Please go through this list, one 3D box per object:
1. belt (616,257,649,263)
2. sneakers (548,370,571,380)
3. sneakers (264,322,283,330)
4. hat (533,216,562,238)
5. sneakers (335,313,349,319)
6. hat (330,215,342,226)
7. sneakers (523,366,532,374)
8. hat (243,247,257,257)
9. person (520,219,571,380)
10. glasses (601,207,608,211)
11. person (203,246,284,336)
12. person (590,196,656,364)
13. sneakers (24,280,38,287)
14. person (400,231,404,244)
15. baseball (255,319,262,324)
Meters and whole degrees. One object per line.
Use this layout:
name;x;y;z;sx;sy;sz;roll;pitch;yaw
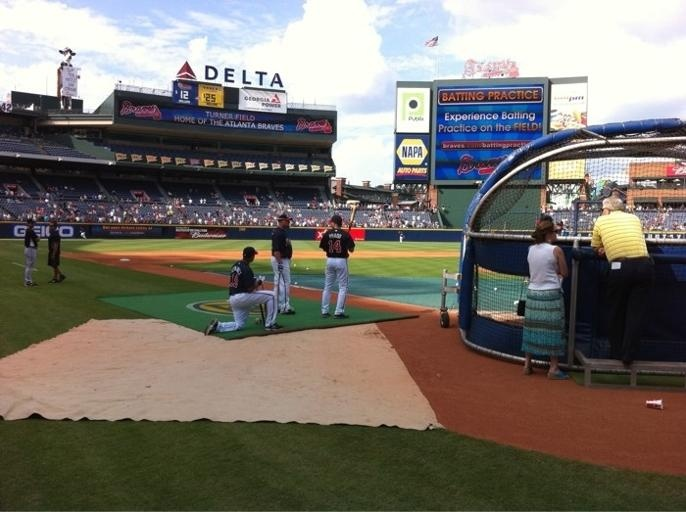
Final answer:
belt;3.787;0.034;8.626;0.385;0.091;0.077;3;13;9
sneakers;3.011;1.658;9.237;0.292;0.107;0.124;1;0;-2
sneakers;-1.212;1.204;11.387;0.330;0.121;0.109;0;3;-3
hat;2.977;-0.430;9.736;0.462;0.151;0.422;-28;8;-35
sneakers;-0.029;1.150;12.735;0.314;0.114;0.098;1;0;-12
hat;-0.133;-0.646;11.876;0.182;0.181;0.199;2;21;-2
sneakers;2.607;1.616;9.358;0.095;0.104;0.268;-4;-11;24
hat;-1.577;-0.047;11.149;0.176;0.129;0.225;7;20;13
person;2.851;0.602;9.175;0.717;2.198;0.506;10;15;30
glasses;3.652;-0.664;9.277;0.108;0.029;0.111;-3;-2;33
person;-1.662;0.587;11.341;1.138;1.515;1.136;3;13;4
person;3.737;0.356;8.906;0.434;2.178;0.781;-6;15;-32
sneakers;-7.699;0.681;16.278;0.479;0.177;0.148;0;3;-16
person;4.605;-1.582;52.303;0.400;0.723;0.815;3;12;4
baseball;-1.540;1.185;12.046;0.104;0.074;0.077;0;-1;-3
